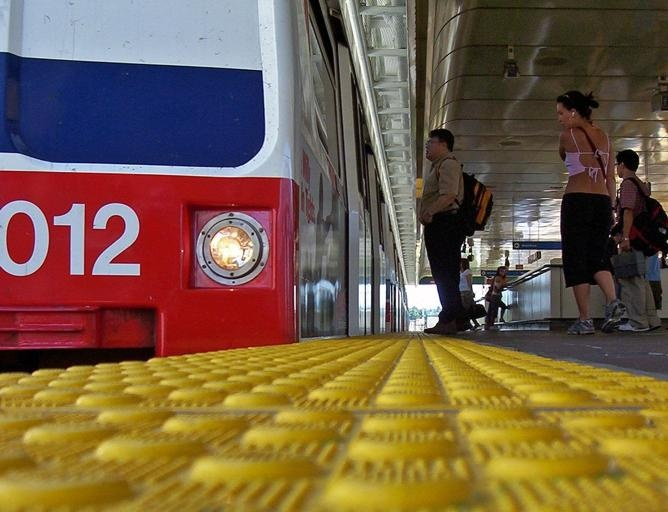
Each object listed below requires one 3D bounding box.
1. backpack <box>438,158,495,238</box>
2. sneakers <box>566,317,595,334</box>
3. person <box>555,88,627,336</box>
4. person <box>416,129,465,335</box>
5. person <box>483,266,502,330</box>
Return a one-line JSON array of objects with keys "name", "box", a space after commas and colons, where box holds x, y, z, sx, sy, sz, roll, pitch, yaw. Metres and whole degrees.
[{"name": "backpack", "box": [1.410, -0.521, 5.652, 0.483, 0.433, 0.347, 19, 4, 24]}, {"name": "sneakers", "box": [2.231, 0.641, 5.107, 0.124, 0.129, 0.302, 0, -1, -18]}, {"name": "person", "box": [2.115, -0.358, 4.687, 0.472, 1.967, 0.490, -4, -6, 1]}, {"name": "person", "box": [1.079, -0.271, 5.608, 0.501, 2.128, 0.878, -5, -6, 10]}, {"name": "person", "box": [4.111, 1.071, 14.440, 0.563, 1.476, 2.359, -5, -6, 15]}]
